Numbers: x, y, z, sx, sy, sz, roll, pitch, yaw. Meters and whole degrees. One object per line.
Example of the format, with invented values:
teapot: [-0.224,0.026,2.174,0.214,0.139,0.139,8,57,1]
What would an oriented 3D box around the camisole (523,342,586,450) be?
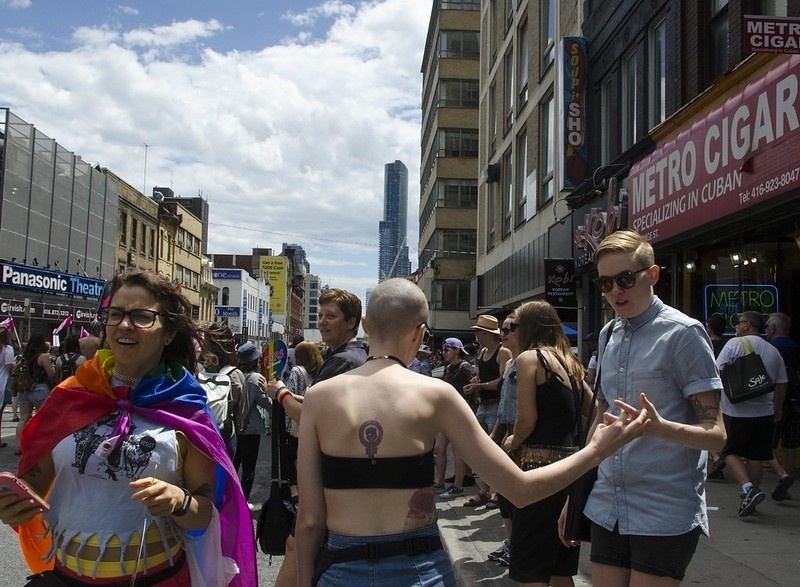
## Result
camisole: [1.340,0.813,6.513,0.541,1.257,0.853,-1,-5,8]

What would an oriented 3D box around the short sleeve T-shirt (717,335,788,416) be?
short sleeve T-shirt: [4.184,0.830,8.844,0.732,0.911,0.457,-1,32,22]

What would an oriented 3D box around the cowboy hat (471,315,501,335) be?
cowboy hat: [1.110,0.406,9.475,0.266,0.135,0.245,13,0,-20]

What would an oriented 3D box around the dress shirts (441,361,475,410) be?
dress shirts: [0.733,1.250,10.278,0.321,0.724,0.557,3,1,-35]

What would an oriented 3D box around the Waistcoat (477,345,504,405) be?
Waistcoat: [1.159,1.052,9.790,0.256,0.703,0.494,-2,2,-38]

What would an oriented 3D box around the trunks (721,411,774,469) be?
trunks: [3.937,1.633,8.498,0.500,0.501,0.483,0,-6,28]

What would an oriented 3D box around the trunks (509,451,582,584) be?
trunks: [1.086,1.784,6.089,0.556,1.232,0.837,2,-13,3]

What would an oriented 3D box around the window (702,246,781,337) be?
window: [4.925,0.136,10.845,1.027,0.049,1.571,0,-45,28]

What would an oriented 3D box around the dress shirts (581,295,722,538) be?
dress shirts: [1.608,0.796,5.038,0.574,1.545,0.998,-9,9,-36]

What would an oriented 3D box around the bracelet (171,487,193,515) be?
bracelet: [-1.225,1.177,4.273,0.115,0.149,0.091,-14,-25,34]

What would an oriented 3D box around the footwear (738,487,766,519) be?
footwear: [3.746,2.235,8.000,0.116,0.146,0.327,-4,-48,-25]
